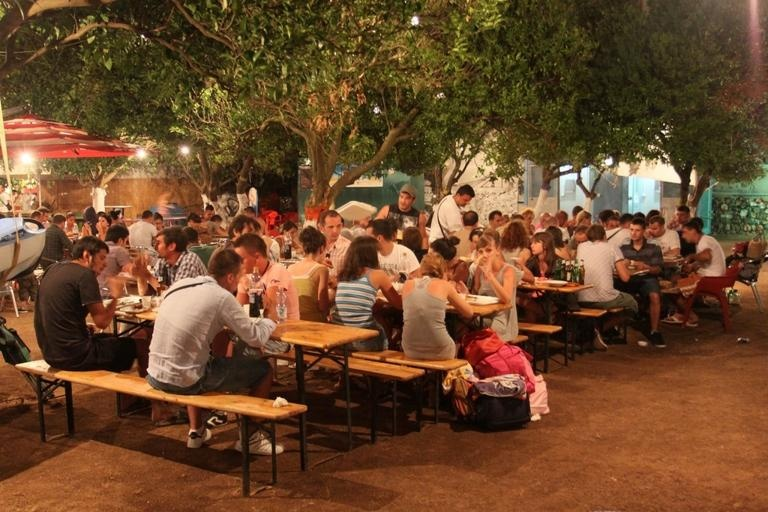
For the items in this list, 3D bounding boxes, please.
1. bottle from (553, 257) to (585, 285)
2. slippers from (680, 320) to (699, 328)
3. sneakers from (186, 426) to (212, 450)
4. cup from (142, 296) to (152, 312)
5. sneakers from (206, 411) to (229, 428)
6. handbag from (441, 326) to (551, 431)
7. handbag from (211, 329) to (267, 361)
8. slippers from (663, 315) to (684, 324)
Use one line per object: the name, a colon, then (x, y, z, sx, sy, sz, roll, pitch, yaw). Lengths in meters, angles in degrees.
bottle: (3.342, 0.281, 10.693, 0.477, 0.414, 0.461, 0, -2, -4)
slippers: (6.519, 1.474, 12.468, 0.169, 0.215, 0.529, -7, -9, 2)
sneakers: (-2.241, 2.194, 7.127, 0.153, 0.165, 0.401, 1, 5, 12)
cup: (-3.172, 0.648, 7.769, 0.158, 0.158, 0.153, 10, 9, -2)
sneakers: (-2.174, 2.139, 7.704, 0.158, 0.210, 0.230, 8, 10, 29)
handbag: (1.463, 1.622, 7.740, 1.130, 0.568, 1.364, 2, 9, 6)
handbag: (-2.048, 1.223, 7.958, 0.527, 0.192, 0.476, 12, 12, -2)
slippers: (6.202, 1.366, 12.656, 0.489, 0.179, 0.173, 1, -3, -3)
